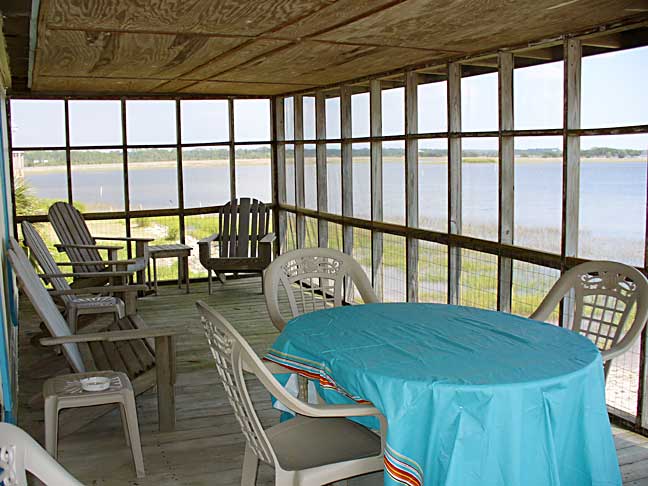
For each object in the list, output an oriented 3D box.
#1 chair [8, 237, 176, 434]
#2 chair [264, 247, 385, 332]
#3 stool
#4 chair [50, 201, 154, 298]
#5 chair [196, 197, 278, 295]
[{"bbox_3d":[-1.588,0.621,4.087,1.375,1.672,1.283,-5,12,-19],"label":"chair"},{"bbox_3d":[0.036,0.347,3.914,0.736,0.893,0.719,-10,14,-21],"label":"chair"},{"bbox_3d":[-1.338,0.975,3.066,0.616,0.492,0.596,-2,5,-20],"label":"stool"},{"bbox_3d":[-2.793,0.096,6.319,1.065,0.939,0.749,5,10,10],"label":"chair"},{"bbox_3d":[-1.174,0.009,7.051,1.180,1.098,1.221,-7,13,-25],"label":"chair"}]
